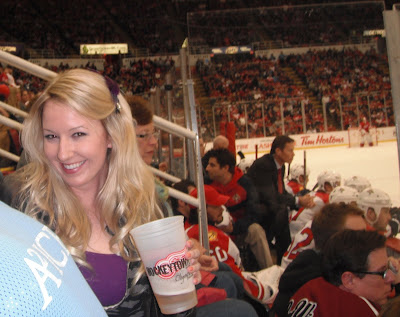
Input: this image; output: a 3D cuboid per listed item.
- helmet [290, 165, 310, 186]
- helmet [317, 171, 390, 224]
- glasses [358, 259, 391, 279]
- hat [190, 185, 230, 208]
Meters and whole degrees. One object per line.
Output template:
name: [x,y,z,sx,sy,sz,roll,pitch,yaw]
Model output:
helmet: [0.626,0.094,2.407,0.107,0.124,0.091,-15,17,19]
helmet: [0.928,0.219,2.199,0.271,0.266,0.229,-2,3,23]
glasses: [0.798,0.529,1.765,0.104,0.033,0.111,-3,-3,0]
hat: [0.061,0.222,2.329,0.190,0.084,0.134,3,22,-6]
